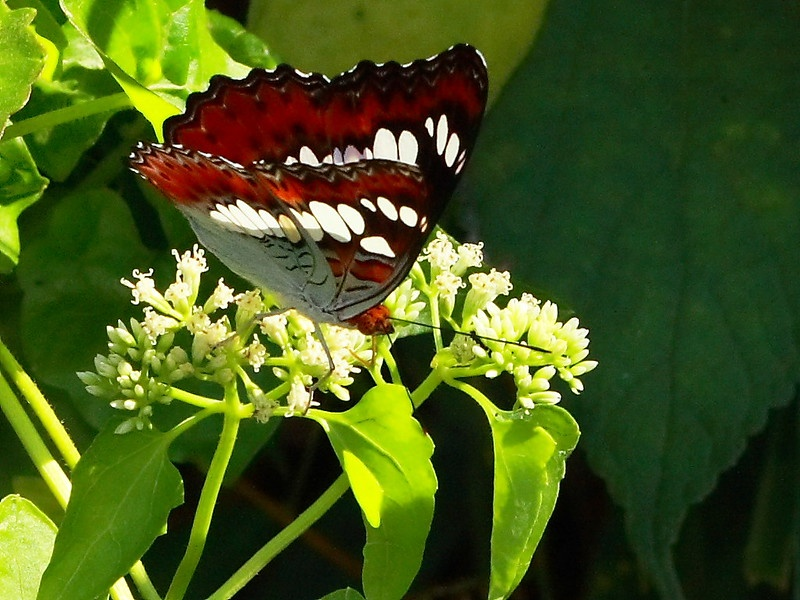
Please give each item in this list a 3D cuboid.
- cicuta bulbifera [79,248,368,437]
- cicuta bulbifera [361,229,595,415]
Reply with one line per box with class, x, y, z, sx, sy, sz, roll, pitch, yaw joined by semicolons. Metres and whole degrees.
cicuta bulbifera;-0.378;0.099;1.791;0.446;0.425;0.205;36;-46;25
cicuta bulbifera;0.180;0.126;1.888;0.192;0.322;0.476;-37;-72;11
